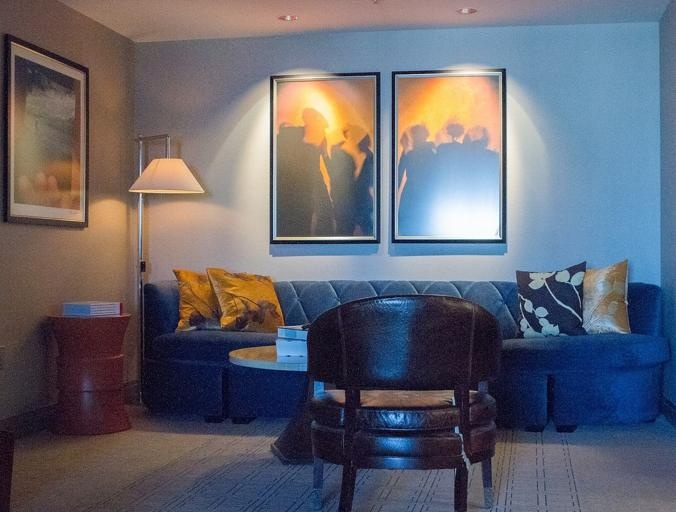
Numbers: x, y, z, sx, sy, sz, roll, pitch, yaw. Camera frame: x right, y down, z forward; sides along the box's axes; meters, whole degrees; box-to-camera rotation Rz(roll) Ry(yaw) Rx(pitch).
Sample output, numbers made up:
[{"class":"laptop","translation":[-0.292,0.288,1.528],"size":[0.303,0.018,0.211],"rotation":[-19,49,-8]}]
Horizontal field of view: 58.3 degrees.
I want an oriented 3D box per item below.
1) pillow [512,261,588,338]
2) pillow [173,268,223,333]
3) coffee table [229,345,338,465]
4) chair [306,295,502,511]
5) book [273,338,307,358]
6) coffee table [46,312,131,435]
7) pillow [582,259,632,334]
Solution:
[{"class":"pillow","translation":[1.584,0.348,4.516],"size":[0.525,0.583,0.204],"rotation":[0,-24,15]},{"class":"pillow","translation":[-1.149,0.346,4.773],"size":[0.440,0.430,0.130],"rotation":[-4,-11,-35]},{"class":"coffee table","translation":[-0.368,0.861,3.401],"size":[0.593,0.428,0.609],"rotation":[2,1,26]},{"class":"chair","translation":[0.279,0.583,2.947],"size":[0.837,1.007,0.967],"rotation":[0,1,7]},{"class":"book","translation":[-0.265,0.495,3.261],"size":[0.192,0.094,0.057],"rotation":[0,3,23]},{"class":"coffee table","translation":[-1.704,0.808,4.522],"size":[0.756,0.939,0.696],"rotation":[1,-2,-44]},{"class":"pillow","translation":[1.968,0.321,4.453],"size":[0.179,0.501,0.482],"rotation":[19,-14,-39]}]
